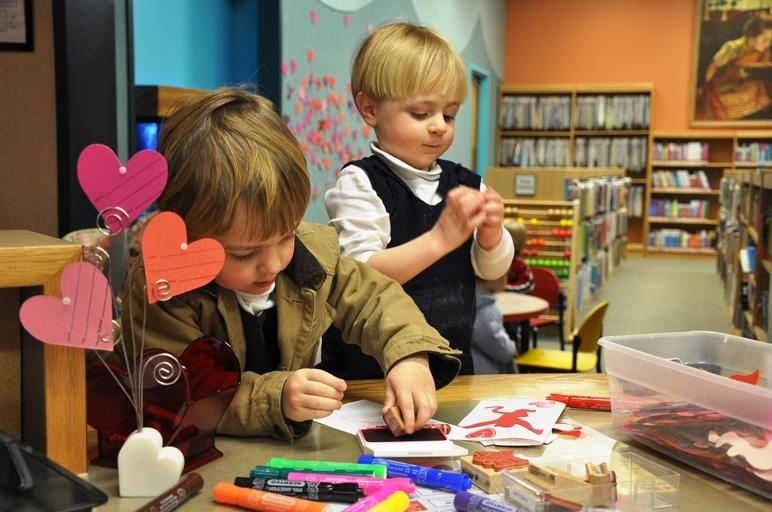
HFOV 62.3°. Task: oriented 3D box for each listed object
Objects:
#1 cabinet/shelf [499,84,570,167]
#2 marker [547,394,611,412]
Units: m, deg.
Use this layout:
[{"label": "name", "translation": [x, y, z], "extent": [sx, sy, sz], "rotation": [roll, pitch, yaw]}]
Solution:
[{"label": "cabinet/shelf", "translation": [1.543, -1.366, 6.540], "extent": [0.870, 0.897, 0.312], "rotation": [1, 5, 16]}, {"label": "marker", "translation": [0.370, 0.285, 1.235], "extent": [0.118, 0.032, 0.030], "rotation": [3, 16, 9]}]
